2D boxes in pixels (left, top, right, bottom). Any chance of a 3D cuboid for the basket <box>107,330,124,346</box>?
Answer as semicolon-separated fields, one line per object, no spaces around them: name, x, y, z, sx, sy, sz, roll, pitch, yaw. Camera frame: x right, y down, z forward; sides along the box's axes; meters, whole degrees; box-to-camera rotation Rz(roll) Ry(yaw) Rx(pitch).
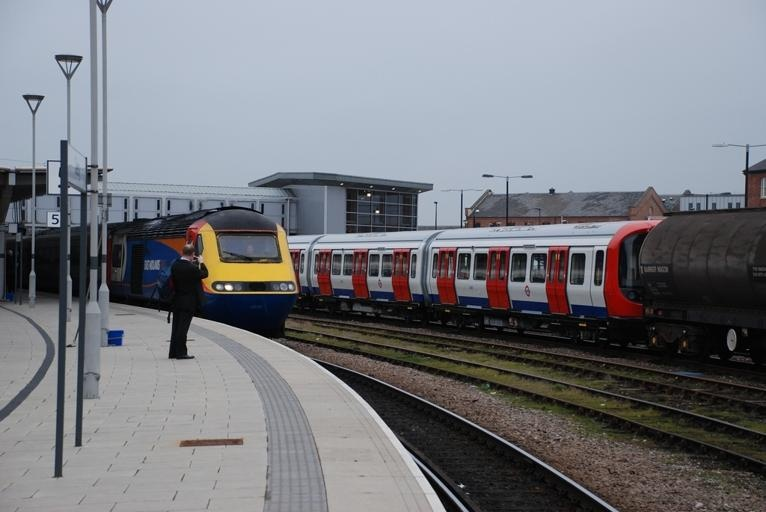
basket;-6.675;2.054;17.383;0.381;0.392;0.540;5;0;-21

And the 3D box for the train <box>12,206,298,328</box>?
train;-10.903;0.596;29.348;2.877;4.017;19.850;5;-4;-44

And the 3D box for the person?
person;-4.260;1.029;15.058;0.722;2.418;0.812;5;0;-23
